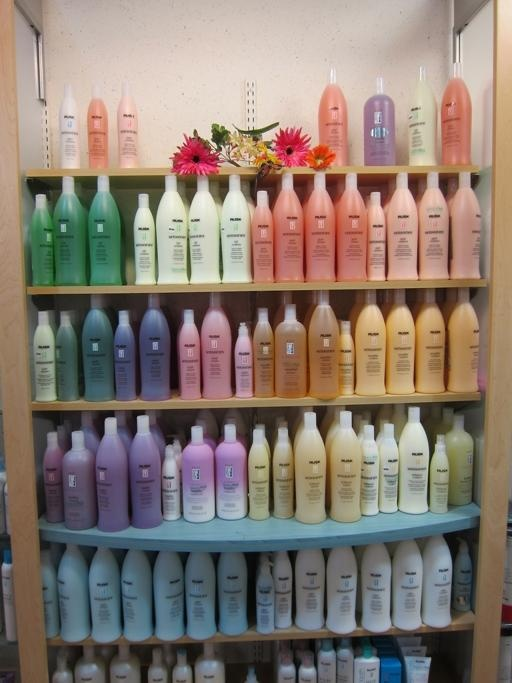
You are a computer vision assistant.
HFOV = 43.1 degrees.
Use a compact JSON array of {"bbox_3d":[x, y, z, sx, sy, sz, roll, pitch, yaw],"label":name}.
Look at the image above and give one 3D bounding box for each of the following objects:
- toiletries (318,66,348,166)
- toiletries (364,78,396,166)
[{"bbox_3d":[0.214,-0.611,1.825,0.054,0.321,0.067,-2,-12,10],"label":"toiletries"},{"bbox_3d":[0.343,-0.601,1.820,0.074,0.263,0.080,-5,-6,36],"label":"toiletries"}]
